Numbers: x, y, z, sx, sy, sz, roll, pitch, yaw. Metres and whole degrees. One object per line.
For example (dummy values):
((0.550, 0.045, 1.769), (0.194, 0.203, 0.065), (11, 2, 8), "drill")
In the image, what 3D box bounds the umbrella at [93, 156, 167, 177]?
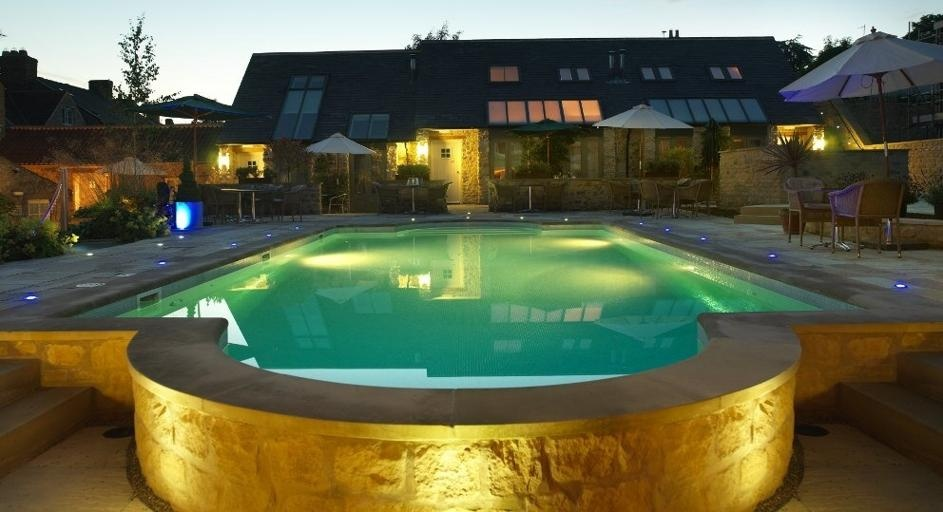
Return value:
((-7.643, -1.994, 12.618), (1.016, 0.415, 2.423), (-8, 13, -29), "umbrella")

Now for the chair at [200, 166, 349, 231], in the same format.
((-6.549, -1.609, 16.722), (2.701, 1.161, 4.512), (1, 11, 13), "chair")

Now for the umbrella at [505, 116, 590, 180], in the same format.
((2.553, -3.855, 19.178), (2.602, 1.659, 2.605), (1, 2, -1), "umbrella")

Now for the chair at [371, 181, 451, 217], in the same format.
((-1.958, -1.827, 18.533), (2.340, 0.885, 1.110), (0, 0, -1), "chair")

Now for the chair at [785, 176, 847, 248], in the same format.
((5.835, -0.723, 9.475), (0.847, 0.963, 0.865), (-1, 5, 22), "chair")

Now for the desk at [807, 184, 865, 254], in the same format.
((5.780, -0.540, 8.297), (0.806, 0.856, 0.674), (18, 4, -8), "desk")

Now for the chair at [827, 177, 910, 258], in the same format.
((6.016, -0.610, 8.376), (1.426, 1.126, 0.935), (-12, 16, -40), "chair")

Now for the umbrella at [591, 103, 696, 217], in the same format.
((5.013, -3.168, 16.513), (2.843, 2.214, 2.768), (5, 8, 39), "umbrella")

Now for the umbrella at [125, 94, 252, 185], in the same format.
((-8.514, -3.518, 17.215), (3.015, 2.376, 3.032), (7, 11, 27), "umbrella")

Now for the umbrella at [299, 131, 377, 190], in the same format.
((-4.426, -3.461, 18.829), (2.817, 1.667, 2.464), (0, 0, 3), "umbrella")
